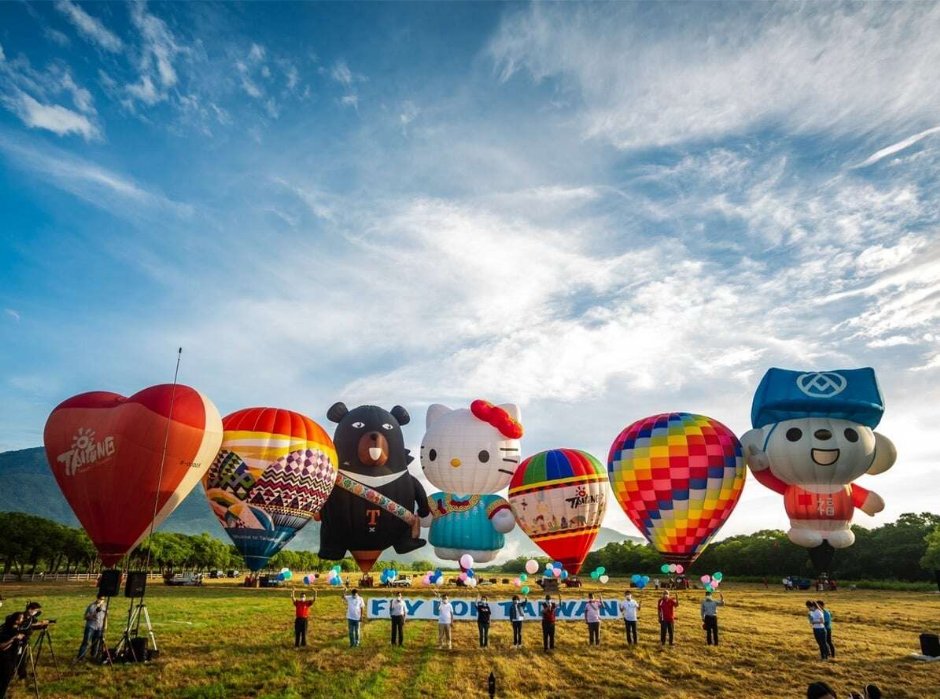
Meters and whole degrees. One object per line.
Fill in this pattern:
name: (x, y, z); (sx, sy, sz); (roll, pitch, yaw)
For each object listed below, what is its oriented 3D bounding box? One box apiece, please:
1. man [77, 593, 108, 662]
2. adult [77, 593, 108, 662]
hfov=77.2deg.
man: (-9.576, 7.170, 15.044); (0.507, 1.567, 1.116); (10, -19, -28)
adult: (-9.548, 7.156, 14.997); (0.507, 1.567, 1.001); (10, -19, -28)
